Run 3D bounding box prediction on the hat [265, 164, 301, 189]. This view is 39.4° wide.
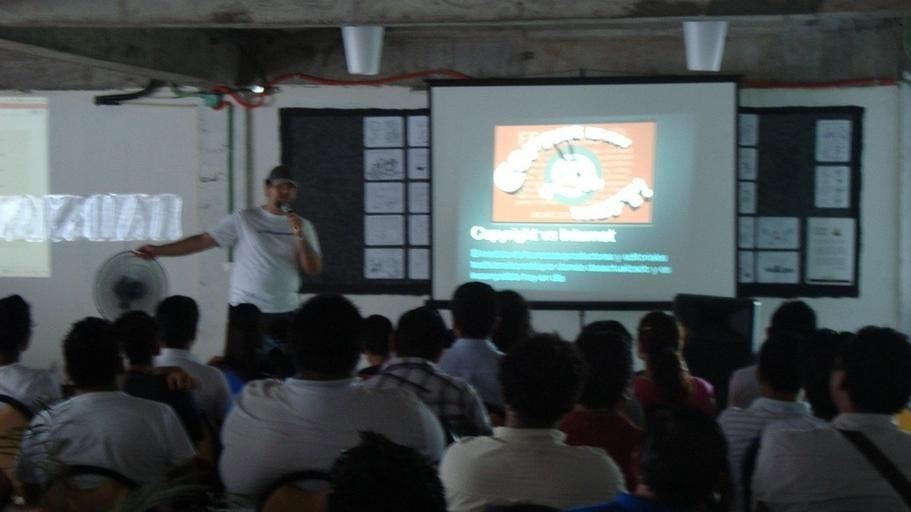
[{"bbox_3d":[-1.420,-0.636,10.379,0.204,0.146,0.257,1,5,-8],"label":"hat"}]

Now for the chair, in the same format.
[{"bbox_3d":[-1.489,1.176,8.712,3.751,1.107,0.903,1,8,-3],"label":"chair"}]
